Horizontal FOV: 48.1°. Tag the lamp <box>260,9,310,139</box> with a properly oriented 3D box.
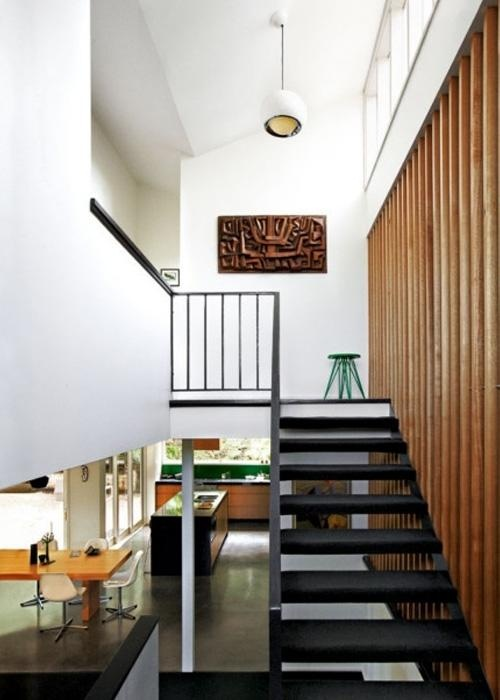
[{"bbox_3d":[0.281,-2.426,4.869,0.239,1.118,0.267,-4,-17,9],"label":"lamp"}]

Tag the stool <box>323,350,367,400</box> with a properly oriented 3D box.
[{"bbox_3d":[1.016,0.283,6.054,0.470,0.486,0.924,-1,-5,10],"label":"stool"}]

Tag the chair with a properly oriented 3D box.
[{"bbox_3d":[-1.835,2.507,5.810,1.171,0.970,0.739,-6,-9,9],"label":"chair"}]

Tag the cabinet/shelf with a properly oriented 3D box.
[{"bbox_3d":[-0.696,2.750,10.004,2.026,0.804,0.995,0,-5,-1],"label":"cabinet/shelf"}]
